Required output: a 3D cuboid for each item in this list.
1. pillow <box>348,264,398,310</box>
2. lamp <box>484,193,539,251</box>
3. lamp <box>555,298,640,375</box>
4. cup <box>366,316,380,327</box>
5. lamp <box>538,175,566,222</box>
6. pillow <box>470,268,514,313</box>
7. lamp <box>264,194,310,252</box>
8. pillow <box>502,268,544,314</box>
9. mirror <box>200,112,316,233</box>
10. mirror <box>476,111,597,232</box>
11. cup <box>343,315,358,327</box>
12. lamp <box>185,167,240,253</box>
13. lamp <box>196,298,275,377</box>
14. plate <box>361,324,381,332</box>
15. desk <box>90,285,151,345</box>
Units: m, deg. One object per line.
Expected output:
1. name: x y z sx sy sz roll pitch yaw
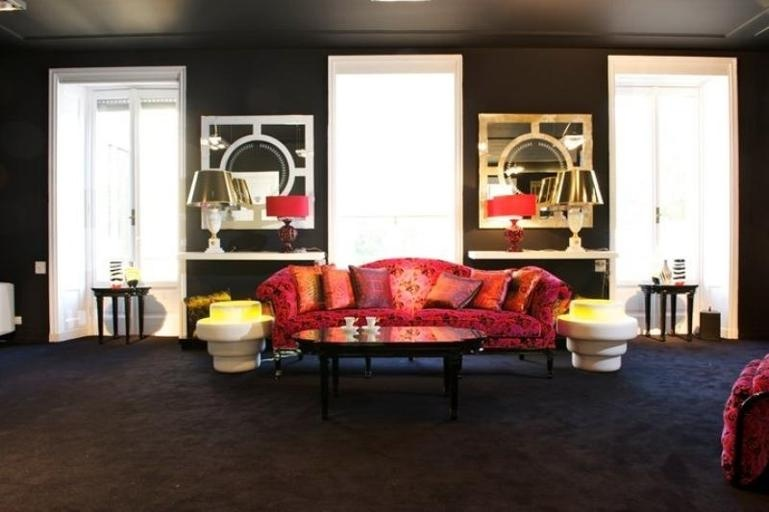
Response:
1. pillow: -0.163 0.350 7.040 0.520 0.452 0.151 -2 -18 -33
2. lamp: 1.552 -0.398 7.732 0.570 0.600 0.543 -2 0 2
3. lamp: 2.315 0.855 6.926 0.911 0.755 0.875 0 1 -20
4. cup: -0.144 0.627 5.945 0.145 0.108 0.157 -1 2 0
5. lamp: 2.140 -0.707 7.840 0.422 0.518 0.433 4 -5 24
6. pillow: 1.159 0.364 6.948 0.148 0.422 0.467 28 -19 -28
7. lamp: -1.187 -0.410 7.708 0.506 0.685 0.468 -2 5 -7
8. pillow: 1.469 0.370 6.877 0.156 0.444 0.483 22 -6 -25
9. mirror: -1.549 -1.008 7.837 1.622 1.436 0.075 0 -2 -1
10. mirror: 1.863 -1.084 7.936 1.583 1.438 0.068 6 13 39
11. cup: -0.322 0.621 6.008 0.168 0.104 0.144 0 -3 -6
12. lamp: -2.093 -0.564 7.668 0.578 1.004 0.599 -3 5 -14
13. lamp: -1.647 0.888 6.928 0.869 0.678 0.847 -1 0 10
14. plate: -0.145 0.679 5.979 0.180 0.075 0.187 -2 6 -3
15. desk: -3.308 0.739 8.107 0.799 0.810 0.731 -1 -3 12
